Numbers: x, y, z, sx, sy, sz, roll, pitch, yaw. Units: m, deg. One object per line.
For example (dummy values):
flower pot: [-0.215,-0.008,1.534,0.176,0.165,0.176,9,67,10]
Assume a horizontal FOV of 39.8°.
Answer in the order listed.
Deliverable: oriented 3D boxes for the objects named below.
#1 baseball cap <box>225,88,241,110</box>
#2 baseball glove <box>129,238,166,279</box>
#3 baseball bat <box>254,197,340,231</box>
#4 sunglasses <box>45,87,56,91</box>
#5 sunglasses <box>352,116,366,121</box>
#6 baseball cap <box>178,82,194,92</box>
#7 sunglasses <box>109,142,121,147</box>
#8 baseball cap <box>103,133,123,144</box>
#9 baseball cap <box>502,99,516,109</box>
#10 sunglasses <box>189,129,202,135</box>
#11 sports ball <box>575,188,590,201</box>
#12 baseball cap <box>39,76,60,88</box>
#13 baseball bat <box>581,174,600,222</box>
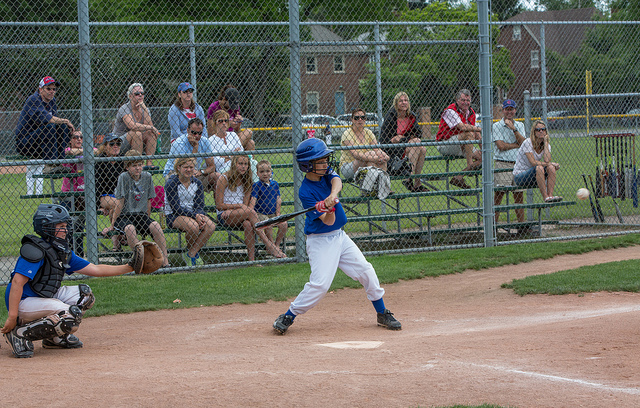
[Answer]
baseball cap: [-1.504,-1.869,15.664,0.218,0.359,0.353,-3,2,20]
baseball glove: [-2.459,0.758,12.441,0.505,0.745,0.583,0,0,-19]
baseball bat: [-0.354,0.158,13.396,1.259,0.138,0.133,-20,44,2]
sunglasses: [-4.413,-1.893,14.528,0.159,0.035,0.051,-5,3,-43]
sunglasses: [0.702,-1.515,15.615,0.202,0.083,0.082,-3,2,3]
baseball cap: [-2.334,-2.057,15.493,0.280,0.191,0.287,-5,3,-33]
sunglasses: [-3.376,-1.000,14.706,0.116,0.047,0.270,-3,2,17]
baseball cap: [-3.476,-1.094,14.679,0.179,0.123,0.252,-2,-1,-42]
baseball cap: [3.619,-1.913,16.824,0.232,0.183,0.358,-3,2,5]
sunglasses: [-2.049,-1.212,14.817,0.205,0.092,0.115,-6,3,-45]
sports ball: [4.954,-0.177,16.590,0.195,0.234,0.225,-33,-7,22]
baseball cap: [-4.466,-2.010,14.537,0.297,0.162,0.187,5,12,44]
baseball bat: [5.443,-0.086,17.679,0.095,1.070,0.163,-20,-8,4]
